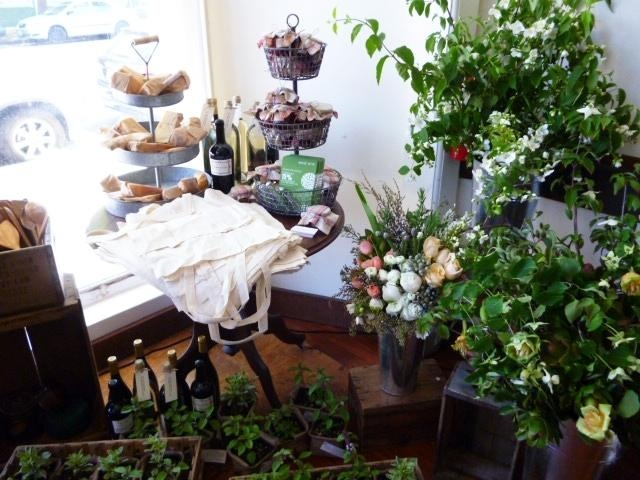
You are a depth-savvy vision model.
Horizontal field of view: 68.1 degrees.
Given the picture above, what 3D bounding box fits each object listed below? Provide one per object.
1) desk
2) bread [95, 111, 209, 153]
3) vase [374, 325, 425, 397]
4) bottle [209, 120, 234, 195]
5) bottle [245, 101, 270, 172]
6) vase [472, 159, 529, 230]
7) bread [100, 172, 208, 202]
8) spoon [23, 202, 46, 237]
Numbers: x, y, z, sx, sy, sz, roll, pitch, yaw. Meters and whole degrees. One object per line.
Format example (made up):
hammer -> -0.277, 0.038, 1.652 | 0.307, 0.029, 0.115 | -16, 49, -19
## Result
desk -> -0.322, 0.308, 2.132 | 0.924, 0.727, 0.935 | 12, 33, 21
bread -> -0.673, -0.456, 1.989 | 0.465, 0.130, 0.308 | -20, 25, -36
vase -> 0.291, 0.456, 1.990 | 0.257, 0.325, 0.261 | 1, 27, 4
bottle -> -0.444, -0.368, 2.115 | 0.104, 0.367, 0.107 | 4, 42, -3
bottle -> -0.317, -0.472, 2.331 | 0.107, 0.240, 0.116 | -3, 20, 1
vase -> 0.633, -0.159, 1.635 | 0.171, 0.230, 0.138 | -21, 54, -2
bread -> -0.692, -0.231, 1.984 | 0.437, 0.110, 0.229 | -10, 21, -15
spoon -> -1.074, -0.105, 1.765 | 0.071, 0.103, 0.026 | -10, 58, -33
